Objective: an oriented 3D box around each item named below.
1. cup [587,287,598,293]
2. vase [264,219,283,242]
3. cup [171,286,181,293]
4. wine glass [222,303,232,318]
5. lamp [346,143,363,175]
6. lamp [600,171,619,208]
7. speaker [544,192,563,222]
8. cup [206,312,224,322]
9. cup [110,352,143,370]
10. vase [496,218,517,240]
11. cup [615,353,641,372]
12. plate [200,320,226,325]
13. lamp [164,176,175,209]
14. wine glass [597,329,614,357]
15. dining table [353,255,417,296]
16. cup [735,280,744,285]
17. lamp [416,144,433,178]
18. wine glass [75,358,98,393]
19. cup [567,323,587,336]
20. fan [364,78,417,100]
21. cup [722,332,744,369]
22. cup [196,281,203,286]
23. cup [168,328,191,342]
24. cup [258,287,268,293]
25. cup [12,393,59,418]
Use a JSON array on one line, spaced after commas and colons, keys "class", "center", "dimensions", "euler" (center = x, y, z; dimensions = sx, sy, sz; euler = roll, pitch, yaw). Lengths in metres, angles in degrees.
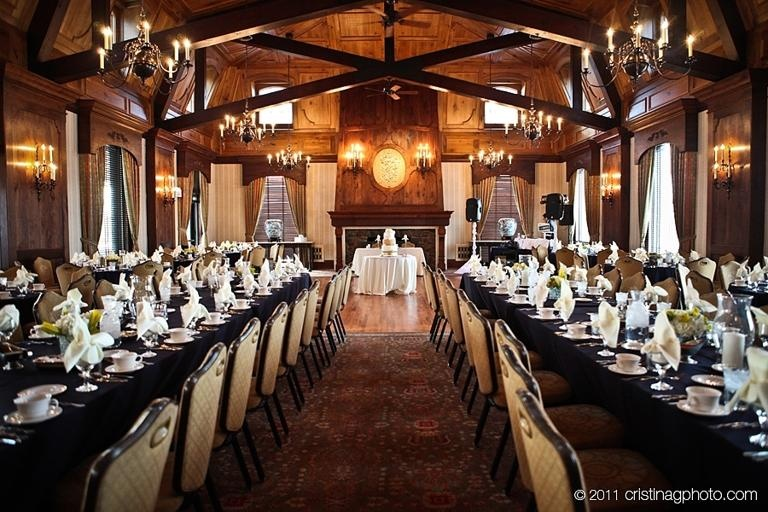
[{"class": "cup", "center": [2.240, 0.354, 5.730], "dimensions": [0.081, 0.036, 0.057], "euler": [-6, -6, 44]}, {"class": "vase", "center": [-3.167, -0.747, 15.159], "dimensions": [0.585, 0.913, 0.577], "euler": [-1, 3, -7]}, {"class": "cup", "center": [-2.261, 0.361, 5.792], "dimensions": [0.072, 0.052, 0.075], "euler": [0, -5, 0]}, {"class": "wine glass", "center": [-1.449, 0.488, 4.971], "dimensions": [0.096, 0.109, 0.096], "euler": [-1, 2, -8]}, {"class": "lamp", "center": [-0.805, -2.771, 15.136], "dimensions": [0.513, 0.830, 0.315], "euler": [0, 11, -4]}, {"class": "lamp", "center": [5.357, -1.577, 12.579], "dimensions": [0.268, 0.917, 0.908], "euler": [2, 0, -1]}, {"class": "speaker", "center": [3.948, -1.136, 12.335], "dimensions": [0.393, 0.612, 0.519], "euler": [5, 12, 18]}, {"class": "cup", "center": [-1.459, 0.516, 4.608], "dimensions": [0.084, 0.059, 0.126], "euler": [-1, -4, 0]}, {"class": "cup", "center": [-1.698, 0.669, 3.521], "dimensions": [0.118, 0.074, 0.147], "euler": [-1, -7, 25]}, {"class": "vase", "center": [3.315, -0.736, 14.224], "dimensions": [0.689, 0.722, 0.718], "euler": [-1, -4, 17]}, {"class": "cup", "center": [1.599, 0.679, 3.462], "dimensions": [0.126, 0.069, 0.106], "euler": [3, -3, -29]}, {"class": "plate", "center": [-1.449, 0.557, 4.532], "dimensions": [0.092, 0.016, 0.092], "euler": [-2, 4, -36]}, {"class": "lamp", "center": [-4.939, -1.497, 12.280], "dimensions": [0.198, 0.675, 0.742], "euler": [0, 11, -7]}, {"class": "wine glass", "center": [1.570, 0.591, 3.759], "dimensions": [0.146, 0.172, 0.149], "euler": [2, 10, 24]}, {"class": "dining table", "center": [0.096, 0.408, 11.197], "dimensions": [0.887, 0.475, 0.918], "euler": [2, 8, 12]}, {"class": "cup", "center": [4.405, 0.317, 6.593], "dimensions": [0.093, 0.042, 0.084], "euler": [-2, -1, 10]}, {"class": "lamp", "center": [1.159, -2.739, 15.140], "dimensions": [0.518, 0.893, 0.259], "euler": [2, 11, 4]}, {"class": "wine glass", "center": [-1.848, 0.677, 3.293], "dimensions": [0.113, 0.204, 0.304], "euler": [-5, 13, -30]}, {"class": "cup", "center": [1.501, 0.559, 4.158], "dimensions": [0.098, 0.072, 0.103], "euler": [1, -4, 0]}, {"class": "fan", "center": [0.109, -4.357, 13.997], "dimensions": [0.859, 0.407, 1.019], "euler": [5, 7, 11]}, {"class": "cup", "center": [2.021, 0.537, 3.077], "dimensions": [0.112, 0.180, 0.178], "euler": [8, 13, 31]}, {"class": "cup", "center": [-2.189, 0.313, 6.305], "dimensions": [0.073, 0.057, 0.070], "euler": [-1, 2, 0]}, {"class": "cup", "center": [-1.545, 0.588, 4.029], "dimensions": [0.099, 0.071, 0.121], "euler": [-2, -8, 23]}, {"class": "cup", "center": [-1.397, 0.389, 6.202], "dimensions": [0.065, 0.047, 0.093], "euler": [-1, -9, 11]}, {"class": "cup", "center": [-1.943, 0.810, 2.938], "dimensions": [0.153, 0.079, 0.130], "euler": [4, -4, -25]}]
